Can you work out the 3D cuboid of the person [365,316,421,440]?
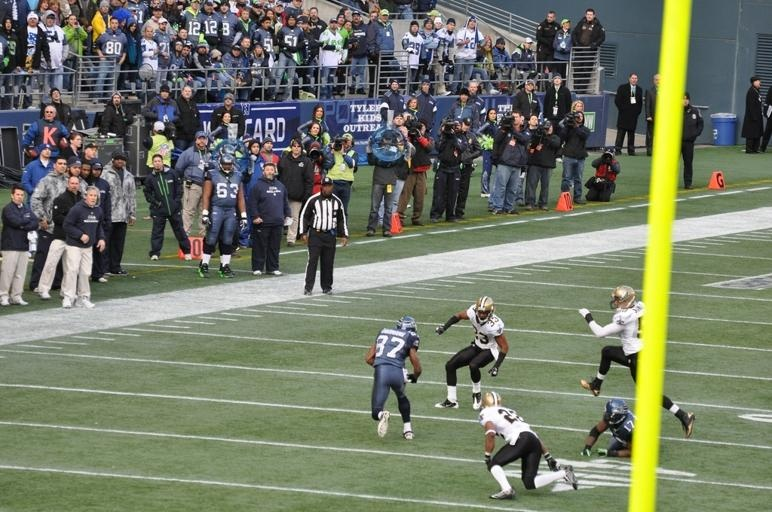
[{"bbox_3d":[0.161,1.904,21.081,0.779,1.866,0.486,-3,6,-33],"label":"person"}]

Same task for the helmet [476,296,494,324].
[{"bbox_3d":[1.648,0.775,21.935,0.293,0.362,0.329,6,-32,12],"label":"helmet"}]

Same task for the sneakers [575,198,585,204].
[{"bbox_3d":[5.399,-1.549,37.620,0.297,0.257,0.125,1,45,4],"label":"sneakers"}]

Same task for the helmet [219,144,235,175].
[{"bbox_3d":[-3.311,-1.927,28.535,0.283,0.415,0.433,0,5,-6],"label":"helmet"}]

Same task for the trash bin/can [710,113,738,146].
[{"bbox_3d":[12.857,-4.699,51.322,1.287,1.145,1.162,0,0,0],"label":"trash bin/can"}]

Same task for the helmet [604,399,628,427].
[{"bbox_3d":[3.483,2.346,20.467,0.353,0.430,0.269,1,5,6],"label":"helmet"}]

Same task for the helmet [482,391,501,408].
[{"bbox_3d":[1.520,2.093,19.824,0.290,0.221,0.204,-15,9,17],"label":"helmet"}]

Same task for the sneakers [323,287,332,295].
[{"bbox_3d":[-1.173,0.705,28.001,0.120,0.086,0.182,36,-23,-27],"label":"sneakers"}]

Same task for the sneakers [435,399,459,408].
[{"bbox_3d":[1.029,2.390,22.436,0.424,0.159,0.144,3,8,12],"label":"sneakers"}]

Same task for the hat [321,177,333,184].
[{"bbox_3d":[-1.204,-1.561,28.262,0.358,0.148,0.484,0,4,3],"label":"hat"}]

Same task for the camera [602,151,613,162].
[{"bbox_3d":[6.067,-2.694,37.032,0.270,0.192,0.334,15,3,-15],"label":"camera"}]

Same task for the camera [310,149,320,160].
[{"bbox_3d":[-1.591,-2.279,30.974,0.198,0.225,0.289,3,6,25],"label":"camera"}]

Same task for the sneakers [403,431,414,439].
[{"bbox_3d":[0.368,2.757,21.251,0.112,0.057,0.148,2,11,-1],"label":"sneakers"}]

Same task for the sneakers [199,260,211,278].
[{"bbox_3d":[-3.838,0.242,28.979,0.155,0.172,0.395,-1,22,-15],"label":"sneakers"}]

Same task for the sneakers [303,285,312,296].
[{"bbox_3d":[-1.577,0.691,27.788,0.225,0.221,0.535,2,1,-6],"label":"sneakers"}]

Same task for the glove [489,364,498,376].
[{"bbox_3d":[1.803,1.861,22.417,0.151,0.113,0.196,37,3,-2],"label":"glove"}]

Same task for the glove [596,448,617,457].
[{"bbox_3d":[3.403,2.980,20.870,0.227,0.084,0.121,8,10,-6],"label":"glove"}]

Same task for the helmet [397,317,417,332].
[{"bbox_3d":[0.342,1.059,21.298,0.270,0.283,0.297,5,-5,34],"label":"helmet"}]

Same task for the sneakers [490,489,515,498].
[{"bbox_3d":[1.677,3.367,19.471,0.342,0.122,0.115,0,19,1],"label":"sneakers"}]

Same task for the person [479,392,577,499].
[{"bbox_3d":[2.117,2.856,20.324,1.198,1.322,0.719,-21,-41,28],"label":"person"}]

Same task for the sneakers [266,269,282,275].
[{"bbox_3d":[-2.374,0.340,29.300,0.216,0.060,0.128,0,27,9],"label":"sneakers"}]

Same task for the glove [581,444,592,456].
[{"bbox_3d":[3.073,2.944,20.756,0.091,0.158,0.240,15,25,-9],"label":"glove"}]

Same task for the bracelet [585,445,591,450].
[{"bbox_3d":[3.097,2.883,20.764,0.055,0.037,0.054,25,-31,-34],"label":"bracelet"}]

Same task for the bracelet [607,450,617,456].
[{"bbox_3d":[3.484,2.989,20.897,0.125,0.075,0.088,4,7,14],"label":"bracelet"}]

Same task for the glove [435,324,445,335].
[{"bbox_3d":[0.928,1.206,22.686,0.154,0.095,0.213,-1,-6,13],"label":"glove"}]

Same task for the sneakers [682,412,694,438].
[{"bbox_3d":[4.757,2.645,21.277,0.235,0.469,0.173,0,31,5],"label":"sneakers"}]

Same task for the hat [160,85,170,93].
[{"bbox_3d":[-5.743,-4.338,35.628,0.191,0.184,0.243,2,-10,-10],"label":"hat"}]

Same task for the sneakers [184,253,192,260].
[{"bbox_3d":[-4.396,0.002,30.390,0.147,0.107,0.322,-8,0,-12],"label":"sneakers"}]

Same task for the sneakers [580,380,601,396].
[{"bbox_3d":[3.395,2.147,22.441,0.374,0.162,0.142,33,37,-4],"label":"sneakers"}]

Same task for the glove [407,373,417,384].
[{"bbox_3d":[0.413,1.895,21.381,0.184,0.103,0.088,19,0,20],"label":"glove"}]

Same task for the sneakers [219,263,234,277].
[{"bbox_3d":[-3.365,0.298,28.985,0.300,0.279,0.354,0,5,-9],"label":"sneakers"}]

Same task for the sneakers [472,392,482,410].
[{"bbox_3d":[1.507,2.365,22.453,0.129,0.296,0.148,0,4,30],"label":"sneakers"}]
